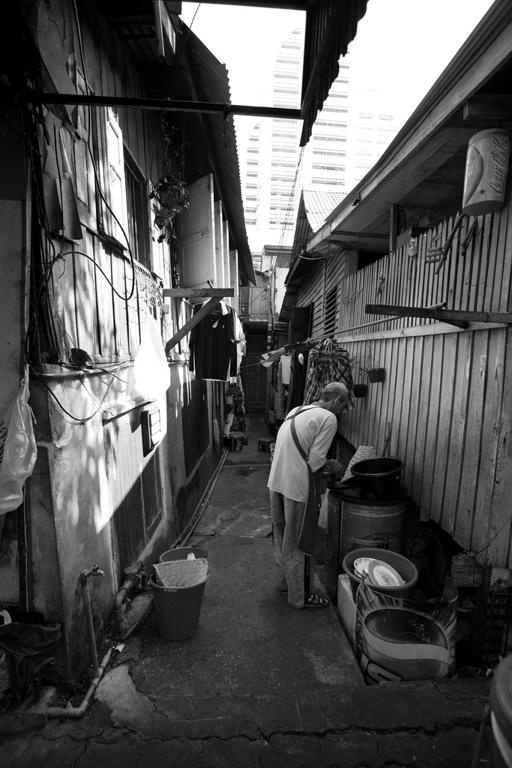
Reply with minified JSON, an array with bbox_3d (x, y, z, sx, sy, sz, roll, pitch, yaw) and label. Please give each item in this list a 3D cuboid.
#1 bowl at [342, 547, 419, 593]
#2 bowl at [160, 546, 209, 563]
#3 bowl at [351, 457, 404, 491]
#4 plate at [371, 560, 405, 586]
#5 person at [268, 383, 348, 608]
[{"bbox_3d":[0.944,1.311,3.973,0.287,0.190,0.334,6,11,29],"label":"bowl"},{"bbox_3d":[-0.553,1.328,4.216,0.323,0.089,0.294,2,2,0],"label":"bowl"},{"bbox_3d":[1.023,0.761,4.565,0.425,0.255,0.529,2,2,12],"label":"bowl"},{"bbox_3d":[0.898,1.335,3.754,0.242,0.116,0.332,2,2,19],"label":"plate"},{"bbox_3d":[0.395,0.864,4.299,0.607,1.765,0.509,1,2,12],"label":"person"}]
